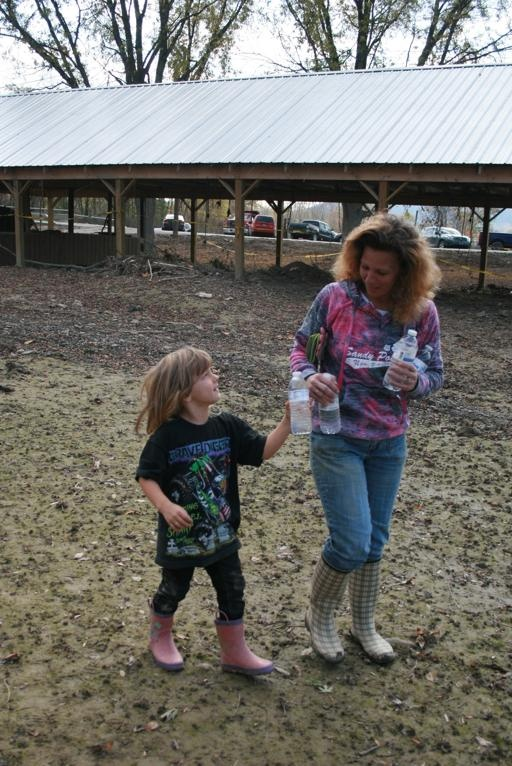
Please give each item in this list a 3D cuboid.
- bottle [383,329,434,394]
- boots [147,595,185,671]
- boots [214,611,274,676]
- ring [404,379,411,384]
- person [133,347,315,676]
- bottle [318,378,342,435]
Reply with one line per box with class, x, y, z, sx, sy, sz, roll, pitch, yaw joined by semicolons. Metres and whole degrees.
bottle;0.548;-0.080;2.476;0.125;0.230;0.276;6;12;21
boots;-0.361;1.006;2.682;0.101;0.183;0.252;0;8;-32
boots;-0.058;0.990;2.639;0.320;0.281;0.143;-1;11;1
ring;0.528;-0.004;2.352;0.014;0.018;0.018;-14;-24;39
person;-0.155;0.516;2.511;0.569;1.255;0.416;-1;12;-14
bottle;0.273;0.114;2.485;0.085;0.170;0.087;1;11;0
